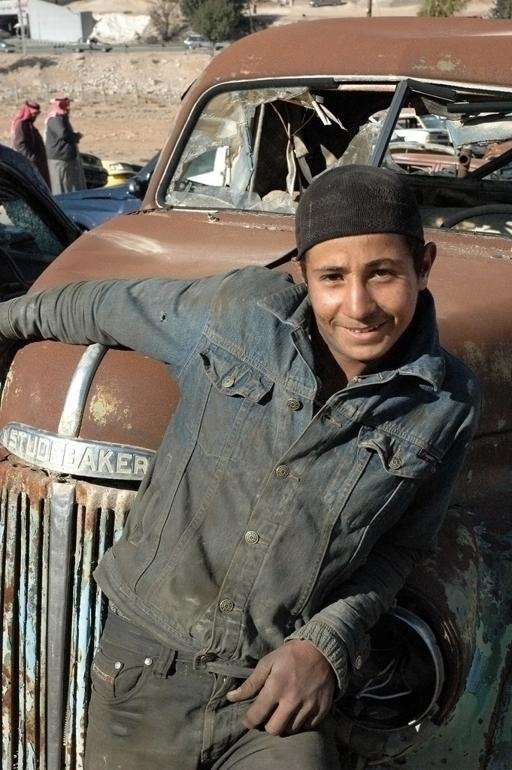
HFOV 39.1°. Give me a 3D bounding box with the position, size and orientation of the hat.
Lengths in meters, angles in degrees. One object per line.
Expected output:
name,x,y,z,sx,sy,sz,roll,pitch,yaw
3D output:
hat,0.170,-0.274,1.197,0.169,0.095,0.163,2,8,25
